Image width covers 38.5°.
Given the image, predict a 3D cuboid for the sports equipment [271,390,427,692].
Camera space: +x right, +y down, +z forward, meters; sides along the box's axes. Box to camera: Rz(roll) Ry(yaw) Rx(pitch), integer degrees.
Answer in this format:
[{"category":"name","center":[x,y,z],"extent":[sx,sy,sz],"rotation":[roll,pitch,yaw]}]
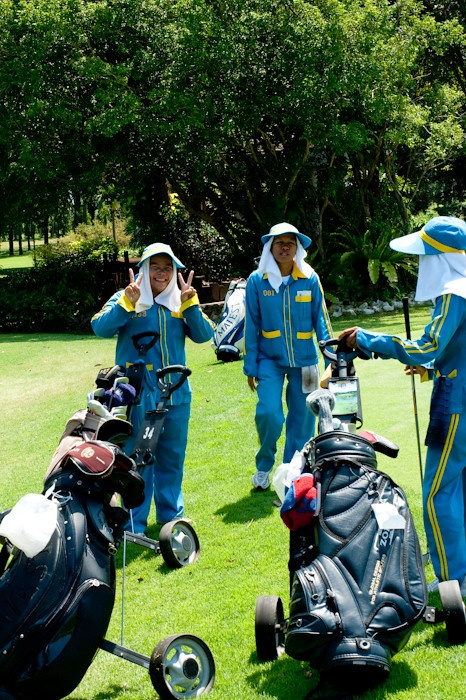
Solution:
[{"category":"sports equipment","center":[0.493,0.849,2.935],"extent":[0.589,1.172,0.535],"rotation":[11,-44,-3]}]

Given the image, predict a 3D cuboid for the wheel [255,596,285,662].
[{"category":"wheel","center":[0.174,1.235,2.981],"extent":[0.125,0.269,0.270],"rotation":[-5,-2,12]}]

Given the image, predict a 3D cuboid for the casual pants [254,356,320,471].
[{"category":"casual pants","center":[0.425,0.511,5.279],"extent":[0.505,0.974,0.318],"rotation":[0,12,-3]}]

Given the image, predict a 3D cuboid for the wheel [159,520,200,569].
[{"category":"wheel","center":[-0.336,1.213,4.116],"extent":[0.234,0.237,0.093],"rotation":[33,-42,-33]}]

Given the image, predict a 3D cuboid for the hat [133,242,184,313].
[{"category":"hat","center":[-0.496,-0.484,4.419],"extent":[0.333,0.485,0.435],"rotation":[-4,3,-4]}]

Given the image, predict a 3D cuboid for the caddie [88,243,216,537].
[{"category":"caddie","center":[-0.521,0.226,4.480],"extent":[0.862,1.870,0.647],"rotation":[-1,-6,-25]}]

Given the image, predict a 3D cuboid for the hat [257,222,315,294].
[{"category":"hat","center":[0.390,-0.723,5.085],"extent":[0.512,0.581,0.509],"rotation":[-1,-16,-7]}]
